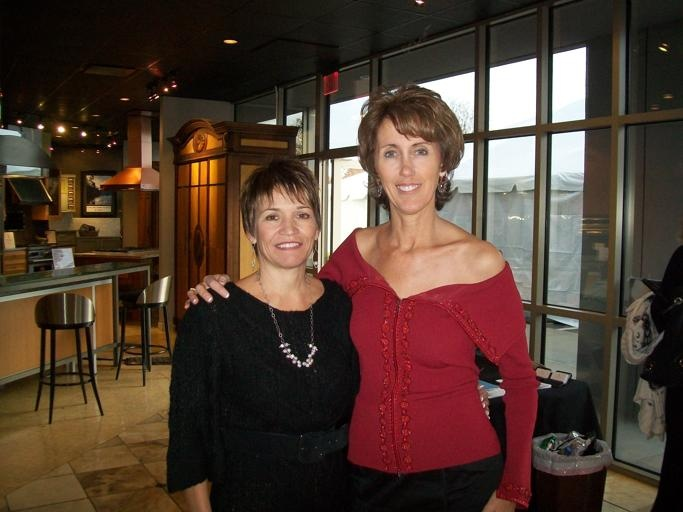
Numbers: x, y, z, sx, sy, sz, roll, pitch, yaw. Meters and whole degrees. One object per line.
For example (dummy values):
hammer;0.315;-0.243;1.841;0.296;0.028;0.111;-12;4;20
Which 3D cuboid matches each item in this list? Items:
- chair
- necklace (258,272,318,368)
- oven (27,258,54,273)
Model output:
chair;-2.796;1.116;6.203;0.527;1.208;1.415;2;3;24
necklace;-0.198;0.306;2.207;0.174;0.282;0.076;-15;-11;-27
oven;-5.882;0.175;10.428;0.391;0.289;0.370;1;1;-39
